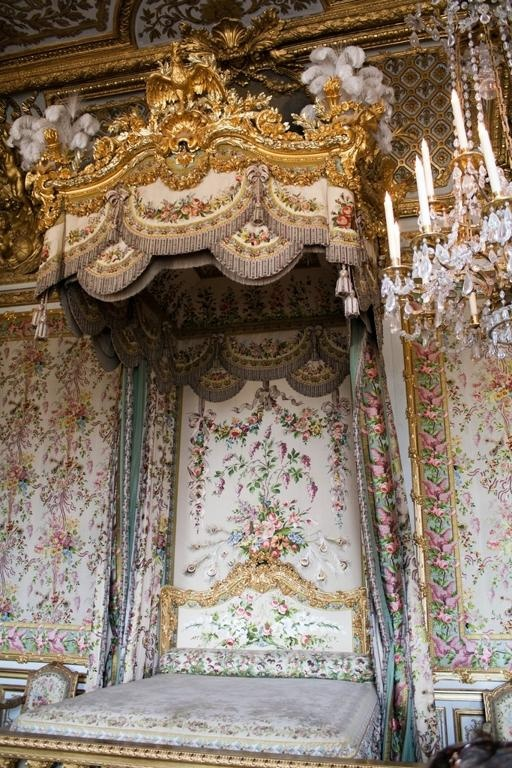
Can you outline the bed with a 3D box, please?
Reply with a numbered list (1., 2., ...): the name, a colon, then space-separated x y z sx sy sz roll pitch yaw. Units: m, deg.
1. bed: -0.178 0.182 3.233 1.768 2.792 1.911 -5 -21 7
